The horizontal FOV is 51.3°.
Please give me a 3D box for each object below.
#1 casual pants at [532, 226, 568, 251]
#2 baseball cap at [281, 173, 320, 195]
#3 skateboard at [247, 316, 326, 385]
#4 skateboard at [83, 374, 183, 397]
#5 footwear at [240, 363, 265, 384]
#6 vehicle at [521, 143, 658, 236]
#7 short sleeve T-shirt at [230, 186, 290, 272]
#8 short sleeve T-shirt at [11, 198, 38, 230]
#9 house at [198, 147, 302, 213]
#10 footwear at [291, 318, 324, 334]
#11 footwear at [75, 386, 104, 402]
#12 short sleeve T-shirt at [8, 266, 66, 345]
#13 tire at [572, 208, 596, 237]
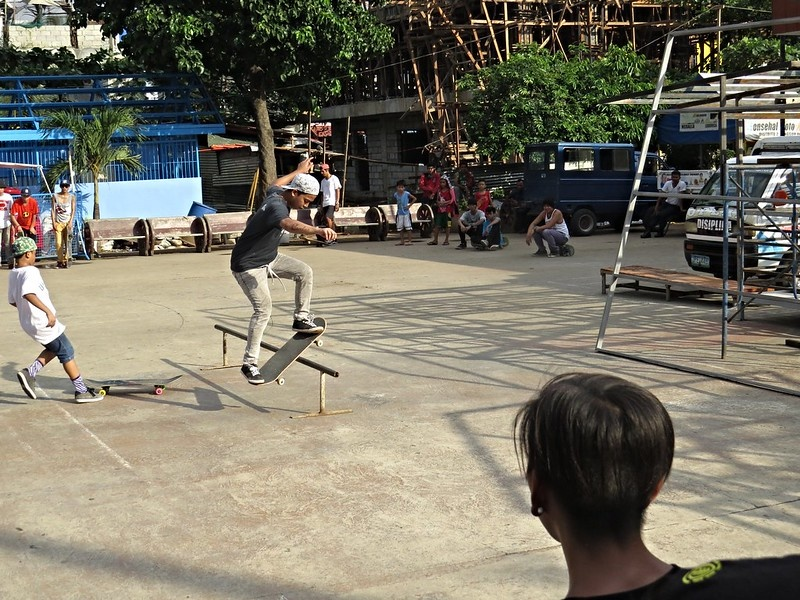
[{"bbox_3d":[3.182,-1.294,17.656,0.598,0.717,0.590,2,4,-9],"label":"casual pants"},{"bbox_3d":[-0.895,-1.066,7.660,0.324,0.131,0.202,11,16,1],"label":"baseball cap"},{"bbox_3d":[-1.117,0.528,8.316,0.982,0.127,0.265,-39,31,-29],"label":"skateboard"},{"bbox_3d":[-2.668,0.824,8.055,1.099,0.147,0.313,-1,10,-3],"label":"skateboard"},{"bbox_3d":[-1.347,0.673,7.594,0.121,0.113,0.332,-8,9,-31],"label":"footwear"},{"bbox_3d":[5.432,-3.031,23.142,4.503,2.116,2.359,-7,10,-29],"label":"vehicle"},{"bbox_3d":[-1.271,-0.597,7.576,0.503,0.731,0.377,-1,10,-10],"label":"short sleeve T-shirt"},{"bbox_3d":[-7.897,-1.819,17.569,0.486,0.678,0.282,-2,10,-20],"label":"short sleeve T-shirt"},{"bbox_3d":[-5.707,-5.033,34.571,5.815,1.587,3.682,0,1,44],"label":"house"},{"bbox_3d":[-0.865,0.246,7.949,0.366,0.120,0.126,-1,-1,43],"label":"footwear"},{"bbox_3d":[-2.910,0.894,7.850,0.254,0.092,0.106,-4,11,-29],"label":"footwear"},{"bbox_3d":[-3.363,0.060,7.712,0.467,0.741,0.309,10,13,44],"label":"short sleeve T-shirt"},{"bbox_3d":[4.838,-2.081,22.046,0.640,0.596,0.222,38,-10,-25],"label":"tire"}]
